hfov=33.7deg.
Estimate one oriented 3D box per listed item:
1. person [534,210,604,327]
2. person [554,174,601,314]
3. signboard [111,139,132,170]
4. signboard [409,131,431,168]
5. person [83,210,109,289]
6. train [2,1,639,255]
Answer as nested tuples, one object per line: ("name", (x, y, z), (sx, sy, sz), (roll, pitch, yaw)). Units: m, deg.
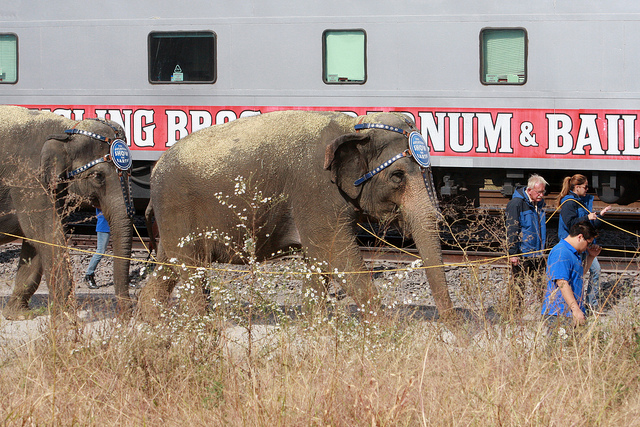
("person", (3.479, 0.706, 14.646), (0.724, 1.358, 3.106), (6, 8, 15))
("person", (4.044, 0.433, 15.910), (0.671, 2.087, 0.668), (-6, 8, 9))
("signboard", (-2.892, -0.861, 15.386), (0.041, 0.395, 0.337), (-10, 18, 37))
("signboard", (1.343, -0.877, 14.259), (0.089, 0.413, 0.421), (-14, 25, 13))
("person", (-3.709, 0.631, 17.632), (0.340, 1.523, 1.038), (6, 7, -9))
("train", (-1.183, -1.642, 20.084), (14.278, 4.662, 4.204), (0, 3, 9))
